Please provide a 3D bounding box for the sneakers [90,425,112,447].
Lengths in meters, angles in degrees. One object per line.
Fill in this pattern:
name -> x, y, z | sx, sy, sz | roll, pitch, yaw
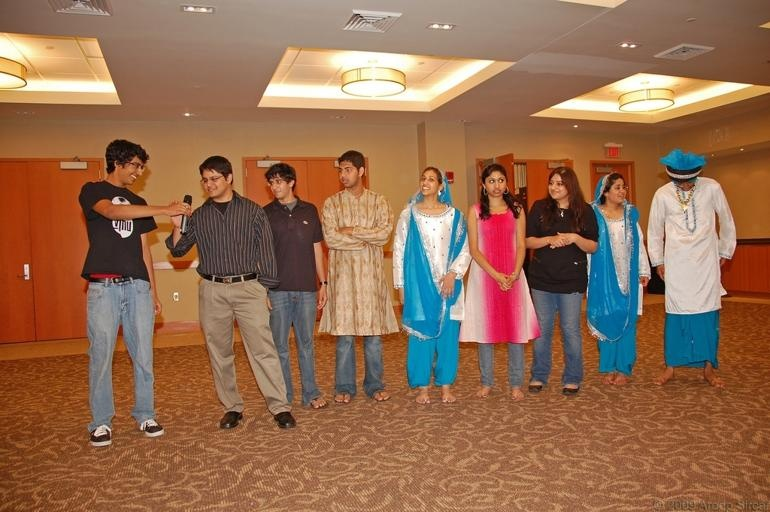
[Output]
sneakers -> -2.560, 1.607, 4.874 | 0.187, 0.167, 0.137 | -5, 11, -16

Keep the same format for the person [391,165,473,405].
person -> 0.488, 0.294, 5.586 | 0.776, 2.349, 0.547 | -1, 10, 3

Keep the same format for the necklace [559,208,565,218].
necklace -> 1.838, -0.441, 5.605 | 0.059, 0.079, 0.024 | 3, -12, 2

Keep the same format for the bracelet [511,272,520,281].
bracelet -> 1.300, 0.211, 5.423 | 0.061, 0.091, 0.087 | 33, 0, 27

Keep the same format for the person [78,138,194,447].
person -> -2.392, 0.316, 5.007 | 0.911, 2.726, 0.716 | -10, 13, -36

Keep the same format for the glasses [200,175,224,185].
glasses -> -1.583, -0.695, 5.033 | 0.236, 0.112, 0.094 | -1, 11, 6

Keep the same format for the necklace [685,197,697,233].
necklace -> 3.258, -0.428, 5.778 | 0.091, 0.344, 0.098 | -8, 12, -31

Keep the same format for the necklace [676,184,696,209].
necklace -> 3.210, -0.629, 5.814 | 0.160, 0.257, 0.063 | -1, -7, 23

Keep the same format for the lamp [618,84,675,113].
lamp -> 4.768, -2.867, 9.890 | 0.887, 0.385, 0.576 | 2, 11, 18

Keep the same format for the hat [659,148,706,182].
hat -> 3.161, -0.965, 5.796 | 0.402, 0.323, 0.209 | 4, 12, 27

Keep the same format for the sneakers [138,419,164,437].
sneakers -> -2.145, 1.594, 5.026 | 0.109, 0.104, 0.264 | 0, -4, -37

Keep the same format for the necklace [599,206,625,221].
necklace -> 2.480, -0.450, 5.950 | 0.175, 0.185, 0.228 | 7, -13, 1

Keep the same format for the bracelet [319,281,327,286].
bracelet -> -0.632, 0.282, 5.562 | 0.064, 0.042, 0.067 | -9, 0, 10

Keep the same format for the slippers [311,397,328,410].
slippers -> -0.665, 1.495, 5.503 | 0.095, 0.043, 0.137 | -8, 4, -22

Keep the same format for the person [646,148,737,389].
person -> 3.271, 0.123, 5.807 | 0.836, 2.455, 0.697 | 2, 11, 21
